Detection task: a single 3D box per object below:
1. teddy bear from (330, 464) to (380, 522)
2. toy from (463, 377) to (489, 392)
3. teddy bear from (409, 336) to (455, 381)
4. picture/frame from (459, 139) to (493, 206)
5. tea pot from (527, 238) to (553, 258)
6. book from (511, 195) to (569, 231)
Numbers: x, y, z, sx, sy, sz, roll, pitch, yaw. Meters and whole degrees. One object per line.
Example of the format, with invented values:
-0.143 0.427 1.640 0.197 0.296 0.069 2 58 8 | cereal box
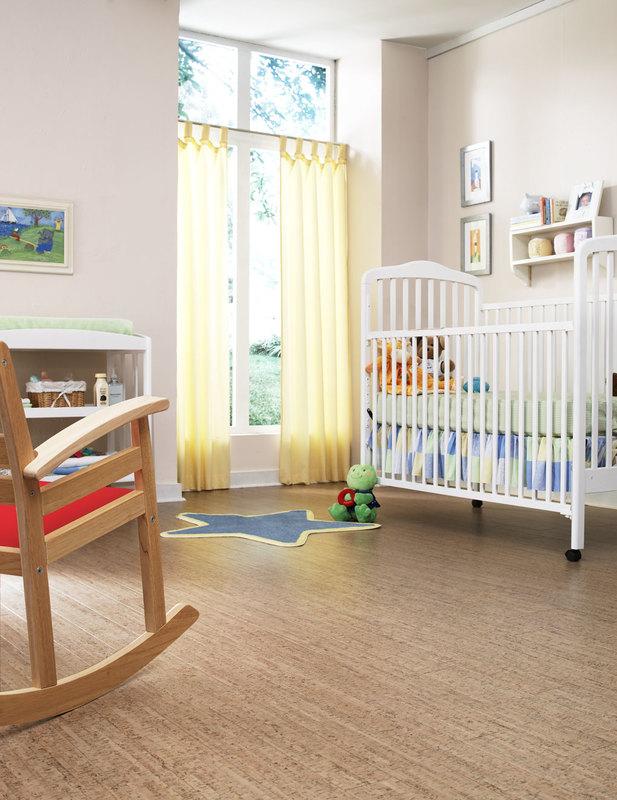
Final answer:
0.216 0.430 3.054 0.213 0.267 0.202 -1 0 23 | teddy bear
0.711 -0.061 2.834 0.106 0.069 0.105 1 4 4 | toy
0.579 -0.197 3.137 0.157 0.210 0.156 -32 29 -27 | teddy bear
1.070 -1.431 4.194 0.045 0.403 0.263 2 -3 -31 | picture/frame
1.282 -0.818 3.673 0.117 0.132 0.138 -4 6 -44 | tea pot
1.266 -1.023 3.601 0.221 0.072 0.216 -6 8 -39 | book
